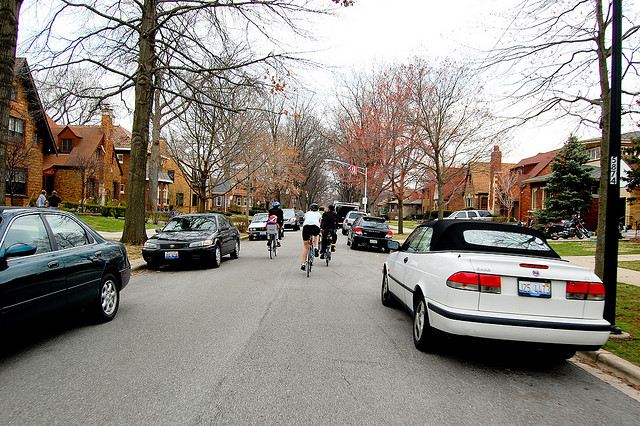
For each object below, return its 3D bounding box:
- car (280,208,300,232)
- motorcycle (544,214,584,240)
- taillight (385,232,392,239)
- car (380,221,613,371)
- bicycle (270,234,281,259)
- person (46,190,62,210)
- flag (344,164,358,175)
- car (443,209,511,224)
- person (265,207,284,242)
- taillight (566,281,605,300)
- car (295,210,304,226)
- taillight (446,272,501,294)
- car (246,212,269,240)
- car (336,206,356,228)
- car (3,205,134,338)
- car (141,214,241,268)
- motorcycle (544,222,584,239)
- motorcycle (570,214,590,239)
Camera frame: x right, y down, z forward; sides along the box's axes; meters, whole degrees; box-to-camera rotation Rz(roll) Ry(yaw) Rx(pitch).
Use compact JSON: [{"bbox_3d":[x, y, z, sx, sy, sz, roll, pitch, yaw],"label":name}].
[{"bbox_3d":[-2.652,0.530,38.493,1.207,1.167,2.743,0,-5,1],"label":"car"},{"bbox_3d":[15.095,0.821,26.929,2.587,1.631,1.245,-2,10,-6],"label":"motorcycle"},{"bbox_3d":[3.273,1.057,21.334,0.238,0.223,0.434,2,9,8],"label":"taillight"},{"bbox_3d":[2.736,1.307,7.274,3.438,2.162,1.936,6,7,36],"label":"car"},{"bbox_3d":[-1.876,1.284,17.413,0.235,0.985,0.643,1,6,-7],"label":"bicycle"},{"bbox_3d":[-13.387,-0.663,22.195,0.468,0.796,1.572,-2,7,-34],"label":"person"},{"bbox_3d":[2.987,-3.927,40.195,0.670,0.746,1.679,1,5,-2],"label":"flag"},{"bbox_3d":[10.433,0.158,28.800,1.080,0.890,2.444,-1,7,-32],"label":"car"},{"bbox_3d":[-1.828,0.429,17.712,0.573,1.486,1.935,1,5,-3],"label":"person"},{"bbox_3d":[3.994,1.160,6.630,0.603,0.264,0.080,1,6,-6],"label":"taillight"},{"bbox_3d":[-1.996,0.381,43.518,0.831,0.881,1.766,0,-8,-4],"label":"car"},{"bbox_3d":[2.362,1.016,6.709,0.361,0.192,0.483,10,-10,-44],"label":"taillight"},{"bbox_3d":[-3.986,0.836,28.356,1.249,1.303,2.815,0,-2,-1],"label":"car"},{"bbox_3d":[2.205,0.306,38.966,1.225,1.223,2.742,1,8,4],"label":"car"},{"bbox_3d":[-4.445,1.042,7.655,0.778,2.146,2.511,3,6,16],"label":"car"},{"bbox_3d":[-4.361,0.945,14.986,2.101,1.688,3.286,2,5,7],"label":"car"},{"bbox_3d":[14.945,1.080,27.078,1.865,1.126,0.993,0,1,0],"label":"motorcycle"},{"bbox_3d":[16.187,0.794,27.787,1.105,1.338,2.078,-1,-1,2],"label":"motorcycle"}]
